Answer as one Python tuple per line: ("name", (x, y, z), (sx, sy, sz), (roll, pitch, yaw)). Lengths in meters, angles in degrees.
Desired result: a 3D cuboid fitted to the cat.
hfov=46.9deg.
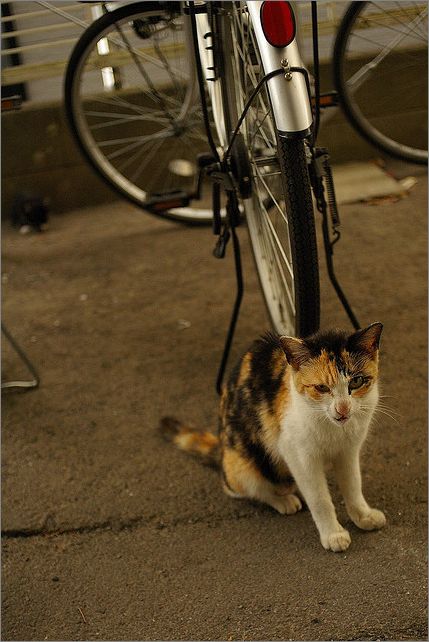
("cat", (0.123, 0.160, 1.395), (0.293, 0.538, 0.721), (-22, 34, -35))
